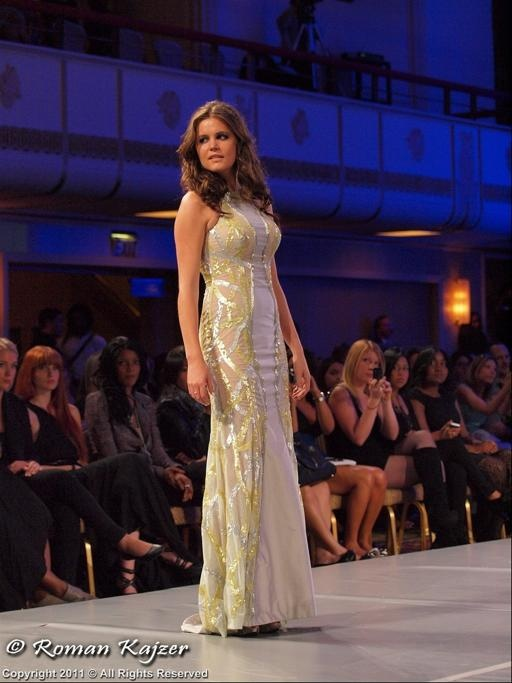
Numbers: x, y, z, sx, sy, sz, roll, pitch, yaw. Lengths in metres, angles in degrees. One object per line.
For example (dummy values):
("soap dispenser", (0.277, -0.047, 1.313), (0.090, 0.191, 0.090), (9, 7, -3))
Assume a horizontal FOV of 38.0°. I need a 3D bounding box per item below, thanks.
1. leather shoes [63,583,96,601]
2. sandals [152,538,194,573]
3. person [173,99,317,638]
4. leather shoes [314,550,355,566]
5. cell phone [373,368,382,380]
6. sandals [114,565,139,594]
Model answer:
("leather shoes", (-0.691, 0.964, 2.877), (0.051, 0.060, 0.169), (-1, -7, 44))
("sandals", (-0.351, 0.920, 3.193), (0.212, 0.067, 0.070), (25, 17, -19))
("person", (-0.057, 0.062, 2.043), (0.518, 1.446, 0.262), (5, -10, -44))
("leather shoes", (0.384, 1.049, 3.628), (0.224, 0.069, 0.070), (-5, -1, 10))
("cell phone", (0.671, 0.179, 4.116), (0.068, 0.083, 0.010), (7, -11, -31))
("sandals", (-0.521, 0.975, 3.000), (0.054, 0.059, 0.163), (4, -10, -17))
